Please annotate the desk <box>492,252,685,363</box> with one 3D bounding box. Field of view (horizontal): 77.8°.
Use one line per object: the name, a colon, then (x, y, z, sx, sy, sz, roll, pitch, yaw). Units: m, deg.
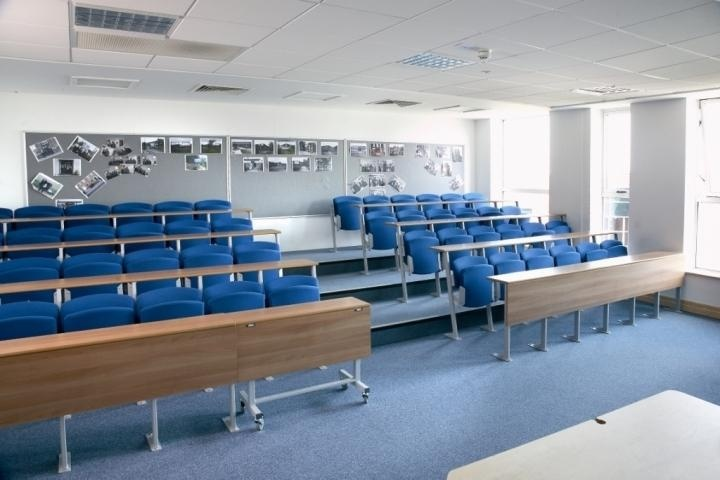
desk: (3.294, 0.828, 6.359, 3.553, 1.054, 0.414, -6, 16, -27)
